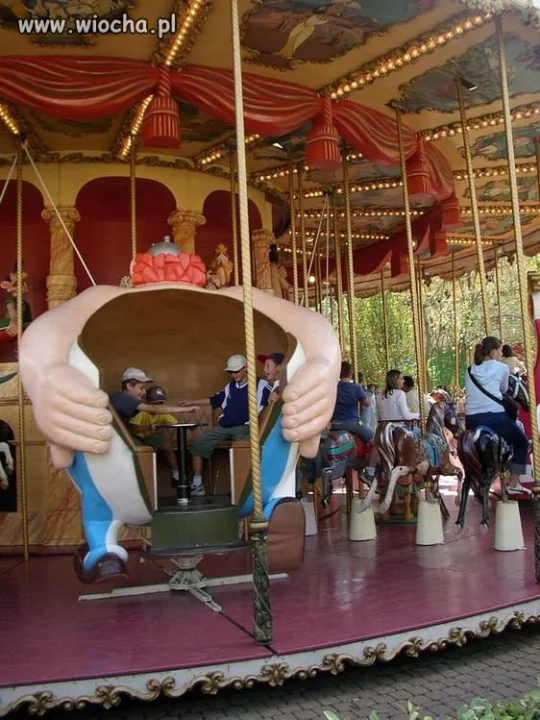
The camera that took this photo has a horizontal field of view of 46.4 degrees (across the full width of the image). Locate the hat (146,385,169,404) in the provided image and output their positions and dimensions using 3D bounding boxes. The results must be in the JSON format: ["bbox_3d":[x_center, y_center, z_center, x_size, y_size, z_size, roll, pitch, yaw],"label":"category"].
[{"bbox_3d":[-0.857,0.274,4.871,0.136,0.146,0.164,3,-38,-27],"label":"hat"}]

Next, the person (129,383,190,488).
[{"bbox_3d":[-0.933,0.635,5.343,0.588,0.826,0.407,-3,-2,33],"label":"person"}]

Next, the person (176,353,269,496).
[{"bbox_3d":[-0.360,0.507,5.103,0.894,1.110,0.670,1,3,39],"label":"person"}]

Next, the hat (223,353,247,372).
[{"bbox_3d":[-0.277,0.034,5.076,0.145,0.153,0.177,-3,-9,-5],"label":"hat"}]

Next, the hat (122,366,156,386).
[{"bbox_3d":[-1.020,0.126,4.778,0.191,0.091,0.127,2,-5,-9],"label":"hat"}]
